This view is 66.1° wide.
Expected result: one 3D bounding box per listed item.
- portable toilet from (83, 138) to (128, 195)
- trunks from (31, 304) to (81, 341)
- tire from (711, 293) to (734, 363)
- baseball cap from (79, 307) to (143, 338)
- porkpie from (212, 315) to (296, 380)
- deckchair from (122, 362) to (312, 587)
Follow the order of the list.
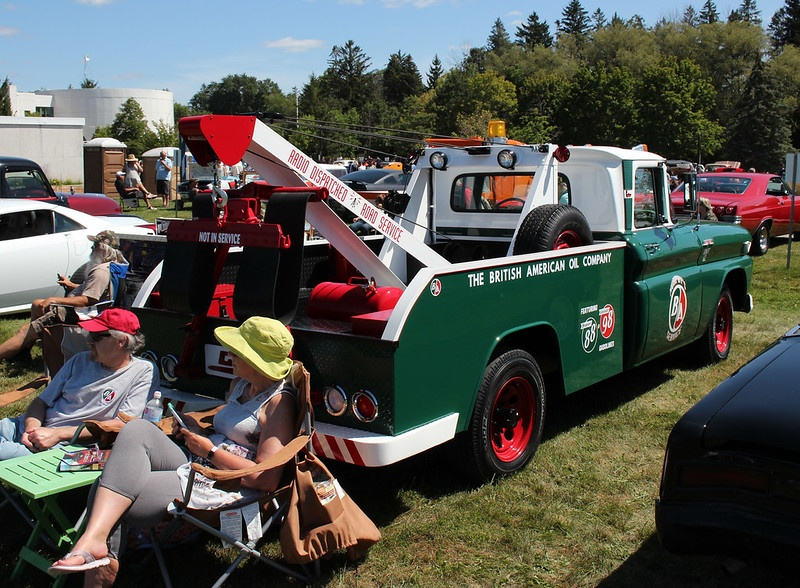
[{"bbox_3d":[-13.573,-5.975,28.473,1.706,3.277,1.850,-7,14,-29],"label":"portable toilet"},{"bbox_3d":[-3.563,0.312,6.433,0.420,0.144,0.258,-25,25,-34],"label":"trunks"},{"bbox_3d":[3.949,0.423,7.563,0.203,0.668,0.615,0,19,30],"label":"tire"},{"bbox_3d":[-1.903,0.183,4.055,0.280,0.125,0.192,7,1,-18],"label":"baseball cap"},{"bbox_3d":[-0.843,0.283,3.649,0.398,0.167,0.341,37,26,14],"label":"porkpie"},{"bbox_3d":[-0.952,0.947,3.597,0.777,1.447,0.945,5,11,31],"label":"deckchair"}]
